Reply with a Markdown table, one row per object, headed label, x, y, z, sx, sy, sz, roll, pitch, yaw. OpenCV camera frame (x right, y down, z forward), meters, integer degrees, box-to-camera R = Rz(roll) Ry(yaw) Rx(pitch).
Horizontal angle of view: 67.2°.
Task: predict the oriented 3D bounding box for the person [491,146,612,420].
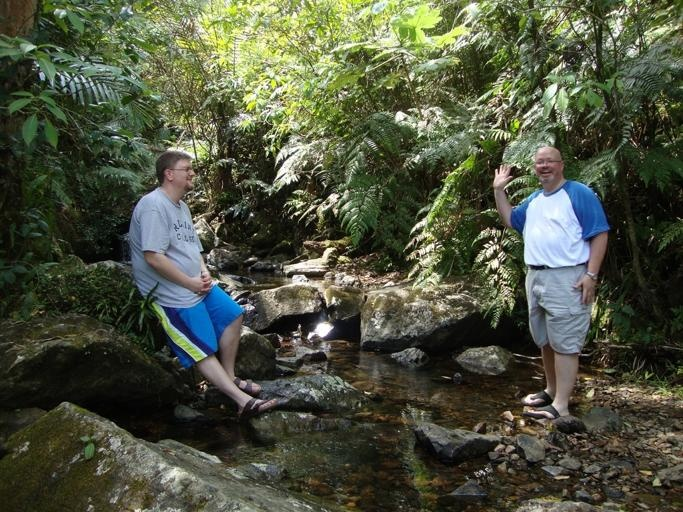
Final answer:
| label | x | y | z | sx | sy | sz | roll | pitch | yaw |
| --- | --- | --- | --- | --- | --- | --- | --- | --- | --- |
| person | 1.643 | 0.351 | 4.210 | 0.774 | 1.854 | 0.770 | -17 | 14 | -28 |

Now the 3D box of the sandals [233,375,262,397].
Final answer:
| label | x | y | z | sx | sy | sz | roll | pitch | yaw |
| --- | --- | --- | --- | --- | --- | --- | --- | --- | --- |
| sandals | -0.773 | 1.095 | 4.310 | 0.258 | 0.062 | 0.112 | 22 | 4 | -5 |

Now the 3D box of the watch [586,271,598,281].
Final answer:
| label | x | y | z | sx | sy | sz | roll | pitch | yaw |
| --- | --- | --- | --- | --- | --- | --- | --- | --- | --- |
| watch | 1.934 | 0.147 | 3.985 | 0.072 | 0.040 | 0.076 | 26 | 18 | -10 |

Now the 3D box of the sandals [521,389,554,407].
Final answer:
| label | x | y | z | sx | sy | sz | roll | pitch | yaw |
| --- | --- | --- | --- | --- | --- | --- | --- | --- | --- |
| sandals | 1.640 | 1.197 | 4.335 | 0.225 | 0.077 | 0.115 | 2 | -5 | -17 |

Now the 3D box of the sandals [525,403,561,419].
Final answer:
| label | x | y | z | sx | sy | sz | roll | pitch | yaw |
| --- | --- | --- | --- | --- | --- | --- | --- | --- | --- |
| sandals | 1.594 | 1.236 | 4.067 | 0.253 | 0.063 | 0.101 | -5 | 11 | 14 |

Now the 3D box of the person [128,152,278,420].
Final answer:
| label | x | y | z | sx | sy | sz | roll | pitch | yaw |
| --- | --- | --- | --- | --- | --- | --- | --- | --- | --- |
| person | -1.210 | 0.236 | 4.148 | 0.660 | 2.183 | 0.907 | -18 | 15 | -31 |

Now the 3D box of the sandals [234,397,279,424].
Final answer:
| label | x | y | z | sx | sy | sz | roll | pitch | yaw |
| --- | --- | --- | --- | --- | --- | --- | --- | --- | --- |
| sandals | -0.680 | 1.217 | 4.082 | 0.368 | 0.109 | 0.137 | -18 | 15 | -2 |
